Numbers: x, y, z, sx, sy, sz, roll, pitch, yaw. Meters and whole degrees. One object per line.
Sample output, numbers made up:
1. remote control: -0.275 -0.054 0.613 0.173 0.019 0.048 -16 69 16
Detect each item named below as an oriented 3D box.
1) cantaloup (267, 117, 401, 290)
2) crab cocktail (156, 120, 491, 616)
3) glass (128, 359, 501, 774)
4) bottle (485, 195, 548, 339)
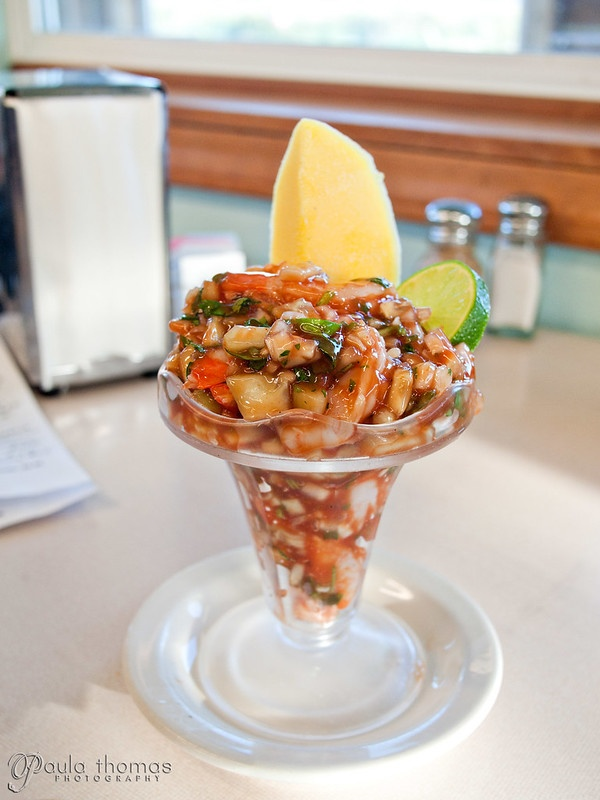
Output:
1. cantaloup: 0.027 -0.155 0.655 0.101 0.158 0.037 -14 39 13
2. crab cocktail: 0.015 -0.014 0.564 0.223 0.319 0.210 -25 48 -30
3. glass: -0.007 0.091 0.587 0.293 0.201 0.266 1 22 3
4. bottle: 0.342 -0.205 1.224 0.081 0.223 0.050 8 29 17
